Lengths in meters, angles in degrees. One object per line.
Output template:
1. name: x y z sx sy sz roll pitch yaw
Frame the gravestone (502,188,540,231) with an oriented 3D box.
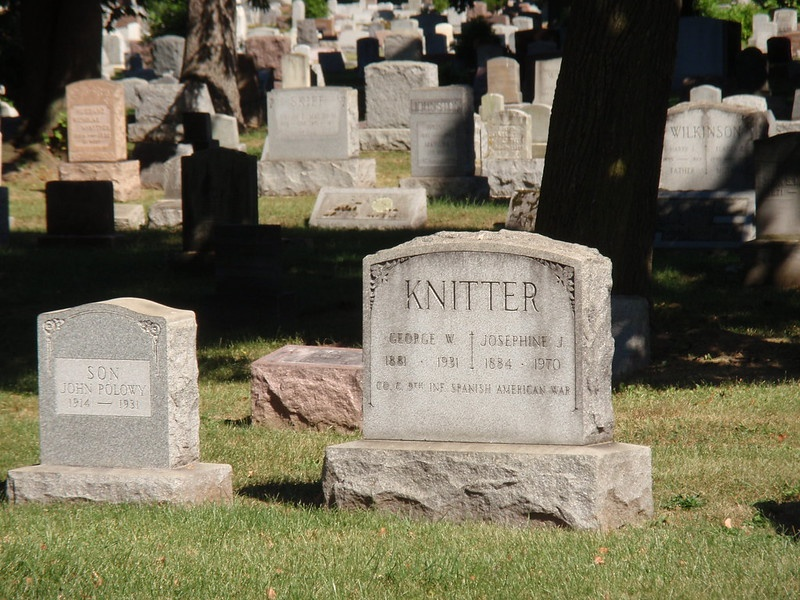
1. gravestone: 2.409 -1.870 43.054 0.223 0.865 0.888 22 -12 -41

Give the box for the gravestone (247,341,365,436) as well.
1. gravestone: -1.525 1.415 35.514 1.447 0.830 1.424 0 7 4

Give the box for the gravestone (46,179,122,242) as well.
1. gravestone: -6.338 -1.789 42.554 1.324 1.102 0.438 0 4 6
